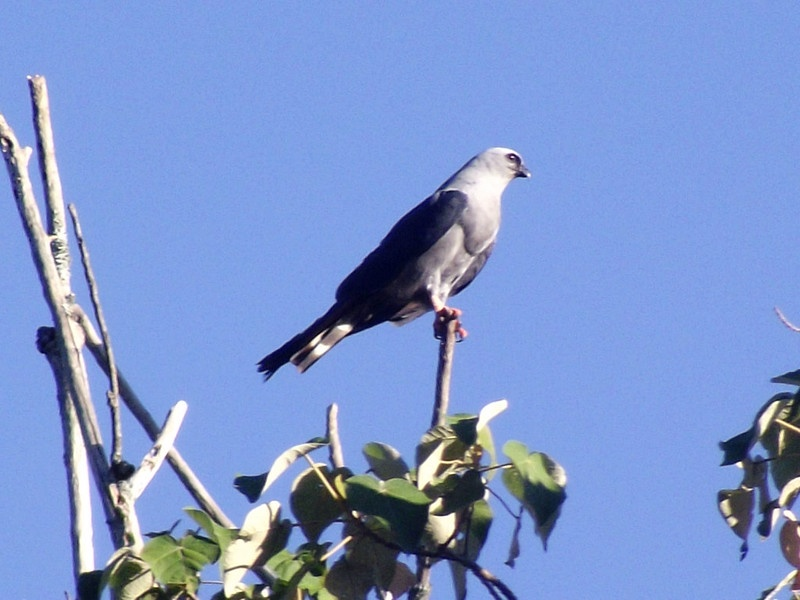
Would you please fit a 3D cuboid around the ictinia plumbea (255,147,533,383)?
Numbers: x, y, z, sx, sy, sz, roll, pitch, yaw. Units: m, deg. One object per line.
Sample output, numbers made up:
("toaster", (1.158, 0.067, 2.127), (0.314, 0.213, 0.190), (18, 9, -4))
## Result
("ictinia plumbea", (0.002, -0.210, 9.252), (1.402, 1.070, 0.577), (-11, -35, 13))
